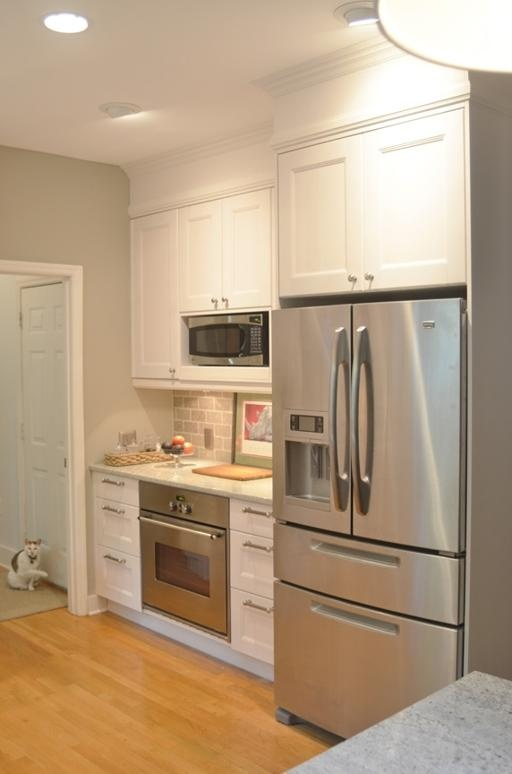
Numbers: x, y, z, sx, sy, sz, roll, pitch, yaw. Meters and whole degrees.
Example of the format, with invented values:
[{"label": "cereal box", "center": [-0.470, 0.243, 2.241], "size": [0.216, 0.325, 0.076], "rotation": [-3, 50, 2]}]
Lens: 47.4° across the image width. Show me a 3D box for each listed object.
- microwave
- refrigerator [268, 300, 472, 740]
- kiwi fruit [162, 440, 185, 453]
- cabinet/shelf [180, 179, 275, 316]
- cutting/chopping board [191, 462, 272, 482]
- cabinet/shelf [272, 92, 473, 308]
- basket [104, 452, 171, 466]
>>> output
[{"label": "microwave", "center": [-0.155, -0.269, 3.477], "size": [0.482, 0.296, 0.242], "rotation": [-1, 4, 24]}, {"label": "refrigerator", "center": [0.446, 0.531, 2.350], "size": [0.691, 1.733, 0.522], "rotation": [2, 8, 26]}, {"label": "kiwi fruit", "center": [-0.540, 0.402, 3.860], "size": [0.090, 0.048, 0.109], "rotation": [-2, -7, 30]}, {"label": "cabinet/shelf", "center": [-0.151, -0.771, 3.519], "size": [0.647, 0.667, 0.261], "rotation": [-1, -3, 25]}, {"label": "cutting/chopping board", "center": [-0.117, 0.520, 3.557], "size": [0.364, 0.045, 0.592], "rotation": [1, -2, -43]}, {"label": "cabinet/shelf", "center": [0.465, -0.679, 2.345], "size": [0.758, 0.636, 0.298], "rotation": [0, 1, 31]}, {"label": "basket", "center": [-0.814, 0.485, 3.973], "size": [0.157, 0.068, 0.305], "rotation": [1, 4, 41]}]
